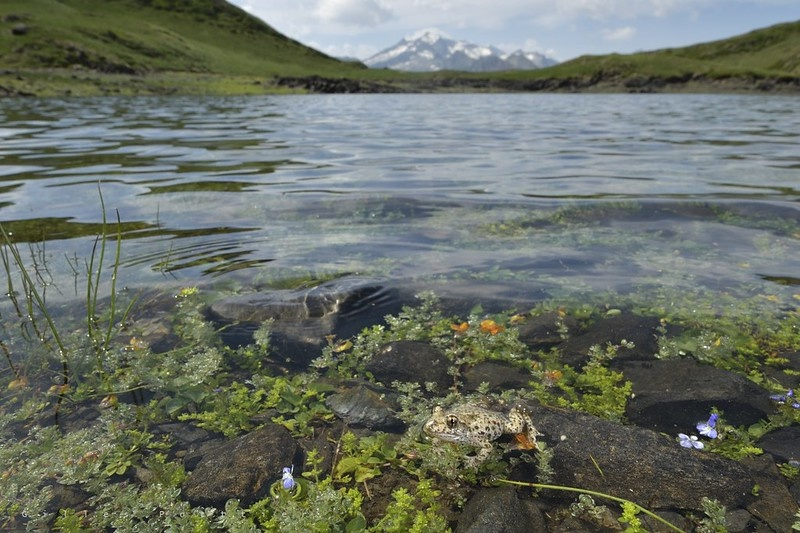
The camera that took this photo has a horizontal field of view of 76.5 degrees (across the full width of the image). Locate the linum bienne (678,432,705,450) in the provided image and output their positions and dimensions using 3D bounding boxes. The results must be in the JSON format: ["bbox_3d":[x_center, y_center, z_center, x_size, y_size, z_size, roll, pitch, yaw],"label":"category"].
[{"bbox_3d":[4.922,2.994,8.612,0.420,0.137,0.371,12,25,23],"label":"linum bienne"}]

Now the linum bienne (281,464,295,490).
[{"bbox_3d":[-1.822,3.388,8.224,0.221,0.320,0.461,-5,24,-14],"label":"linum bienne"}]

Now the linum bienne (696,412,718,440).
[{"bbox_3d":[5.353,2.766,8.859,0.375,0.142,0.363,-14,35,-2],"label":"linum bienne"}]
